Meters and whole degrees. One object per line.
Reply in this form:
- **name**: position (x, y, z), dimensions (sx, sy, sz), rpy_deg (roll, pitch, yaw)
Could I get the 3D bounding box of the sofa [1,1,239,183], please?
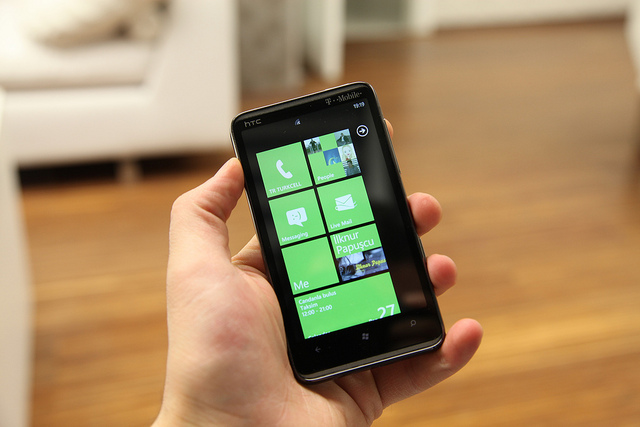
- **sofa**: position (-0.503, -0.306, 1.363), dimensions (0.486, 0.251, 0.384), rpy_deg (-5, 106, -15)
